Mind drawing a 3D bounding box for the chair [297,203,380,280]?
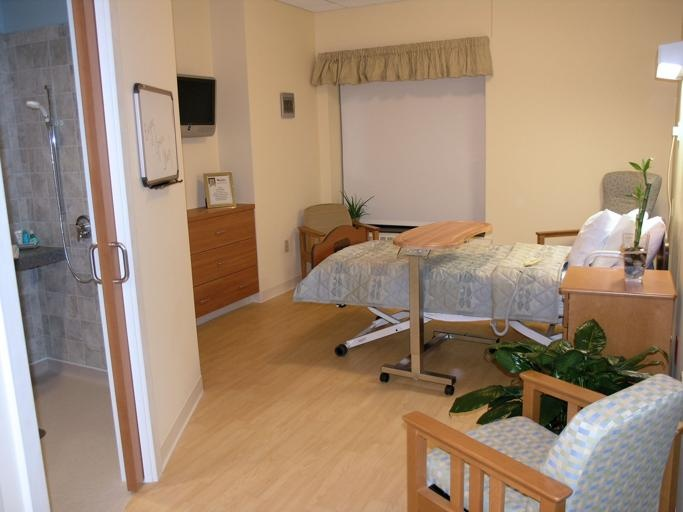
[{"bbox_3d":[-0.023,-0.111,6.187,0.853,0.991,0.848,-10,15,-35],"label":"chair"}]

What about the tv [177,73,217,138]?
[{"bbox_3d":[-1.524,-1.574,5.405,0.208,0.616,0.511,3,14,24],"label":"tv"}]

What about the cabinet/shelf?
[{"bbox_3d":[-1.235,0.033,5.271,0.383,0.967,1.023,5,14,31],"label":"cabinet/shelf"}]

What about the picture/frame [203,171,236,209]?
[{"bbox_3d":[-1.345,-0.712,5.587,0.369,0.434,0.030,-15,4,-42],"label":"picture/frame"}]

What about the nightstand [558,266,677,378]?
[{"bbox_3d":[1.621,0.280,3.215,0.710,0.716,0.611,1,5,23],"label":"nightstand"}]

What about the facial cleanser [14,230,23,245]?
[{"bbox_3d":[-2.549,-0.147,4.047,0.084,0.107,0.061,8,16,38],"label":"facial cleanser"}]

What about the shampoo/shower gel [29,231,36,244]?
[{"bbox_3d":[-2.456,-0.146,4.087,0.045,0.089,0.085,-9,14,-24],"label":"shampoo/shower gel"}]

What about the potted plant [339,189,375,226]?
[{"bbox_3d":[0.203,-0.662,6.831,0.378,0.437,0.427,2,1,-5],"label":"potted plant"}]

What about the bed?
[{"bbox_3d":[1.004,0.147,4.460,2.250,1.139,1.483,3,9,18],"label":"bed"}]
